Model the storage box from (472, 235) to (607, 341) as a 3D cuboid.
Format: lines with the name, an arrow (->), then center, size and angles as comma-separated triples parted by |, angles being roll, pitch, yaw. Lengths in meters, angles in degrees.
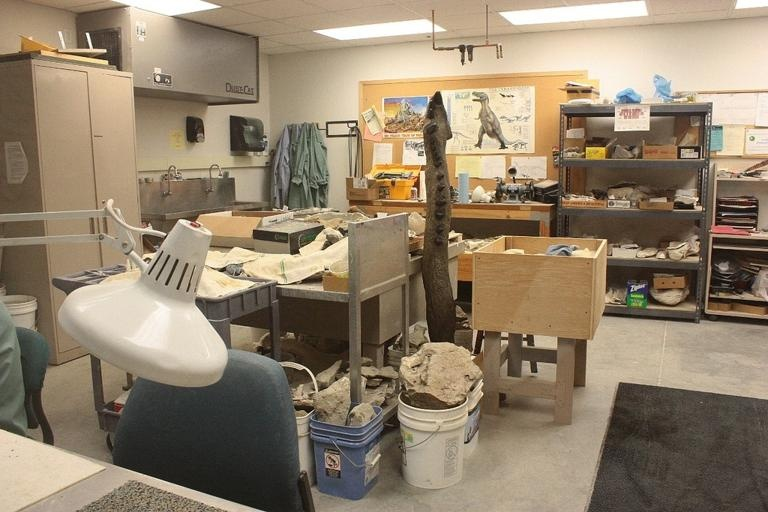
storage box -> 1.180, 0.176, 4.010 | 1.002, 0.488, 1.009 | 6, 16, 42

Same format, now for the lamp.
lamp -> -0.712, 0.073, 1.519 | 0.364, 0.440, 0.624 | -9, 13, -35

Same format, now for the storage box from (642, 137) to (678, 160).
storage box -> 2.938, -1.080, 5.766 | 0.349, 0.207, 0.349 | 4, 9, 28

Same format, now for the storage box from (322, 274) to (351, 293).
storage box -> -0.297, 0.168, 3.348 | 0.126, 0.071, 0.119 | 2, 4, 13

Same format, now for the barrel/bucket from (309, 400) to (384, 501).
barrel/bucket -> -0.225, 1.168, 3.278 | 0.509, 0.377, 0.475 | 0, -5, 0

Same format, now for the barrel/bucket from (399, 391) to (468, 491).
barrel/bucket -> 0.309, 1.130, 3.375 | 0.443, 0.429, 0.456 | -2, -3, 0

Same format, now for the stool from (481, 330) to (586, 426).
stool -> 1.130, 0.836, 4.147 | 0.746, 0.657, 0.708 | 2, 6, 17

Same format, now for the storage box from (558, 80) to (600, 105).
storage box -> 2.160, -1.757, 5.918 | 0.379, 0.248, 0.380 | 1, 11, 12

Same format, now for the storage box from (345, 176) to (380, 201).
storage box -> -0.283, -0.808, 6.652 | 0.332, 0.230, 0.326 | 2, 4, 22
